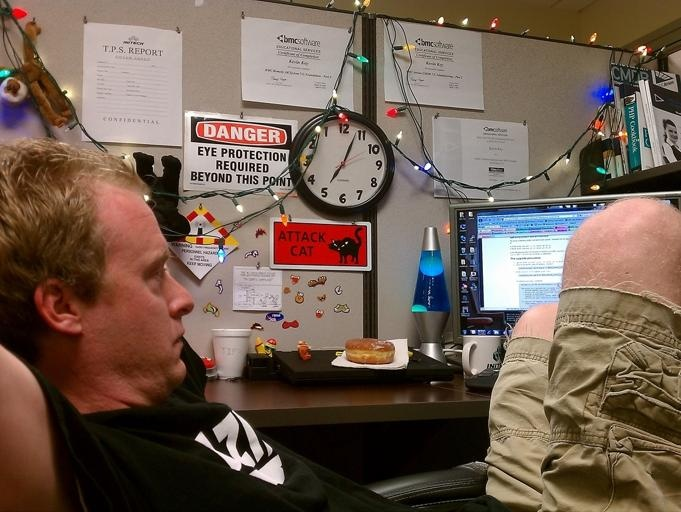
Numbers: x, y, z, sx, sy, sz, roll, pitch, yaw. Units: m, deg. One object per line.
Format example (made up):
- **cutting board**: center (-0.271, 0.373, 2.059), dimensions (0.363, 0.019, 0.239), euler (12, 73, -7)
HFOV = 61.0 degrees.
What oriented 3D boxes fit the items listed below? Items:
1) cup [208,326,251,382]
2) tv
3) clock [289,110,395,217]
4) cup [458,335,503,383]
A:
- **cup**: center (-0.312, 0.277, 1.653), dimensions (0.120, 0.142, 0.128), euler (1, -9, 0)
- **tv**: center (0.450, 0.032, 1.227), dimensions (0.442, 0.293, 0.032), euler (-2, -9, 7)
- **clock**: center (-0.009, -0.299, 1.883), dimensions (0.324, 0.351, 0.046), euler (2, -10, -12)
- **cup**: center (0.410, 0.289, 1.643), dimensions (0.084, 0.130, 0.140), euler (1, 3, 36)
